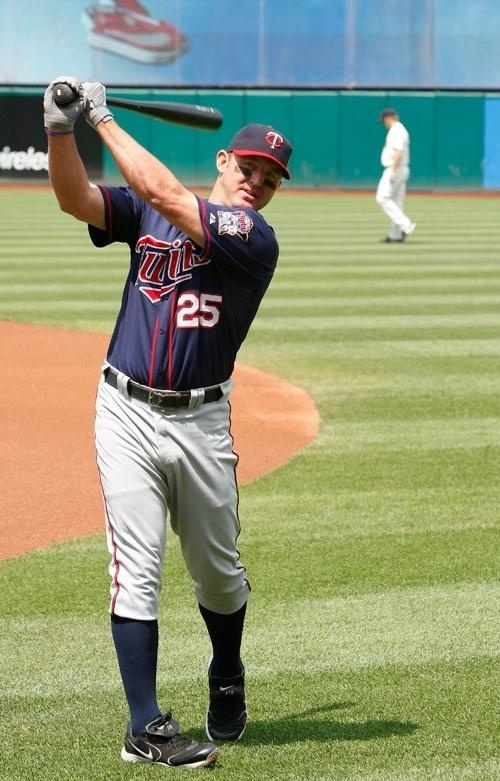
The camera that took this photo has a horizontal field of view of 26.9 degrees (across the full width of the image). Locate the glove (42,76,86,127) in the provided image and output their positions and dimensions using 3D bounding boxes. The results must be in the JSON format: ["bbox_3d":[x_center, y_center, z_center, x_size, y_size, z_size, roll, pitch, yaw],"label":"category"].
[{"bbox_3d":[-0.387,-0.607,2.208,0.087,0.113,0.113,6,39,0],"label":"glove"}]

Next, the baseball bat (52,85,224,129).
[{"bbox_3d":[-0.242,-0.631,2.353,0.412,0.075,0.062,-4,-6,-36],"label":"baseball bat"}]

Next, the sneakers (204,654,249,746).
[{"bbox_3d":[-0.050,0.689,2.364,0.094,0.093,0.252,0,27,-1],"label":"sneakers"}]

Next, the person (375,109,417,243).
[{"bbox_3d":[1.536,-2.229,10.872,0.437,1.419,1.817,5,11,7],"label":"person"}]

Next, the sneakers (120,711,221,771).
[{"bbox_3d":[-0.167,0.721,2.168,0.232,0.098,0.080,0,4,9],"label":"sneakers"}]

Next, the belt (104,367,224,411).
[{"bbox_3d":[-0.187,-0.005,2.222,0.262,0.075,0.115,2,10,-4],"label":"belt"}]

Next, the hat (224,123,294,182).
[{"bbox_3d":[0.016,-0.540,2.379,0.115,0.081,0.143,24,5,-26],"label":"hat"}]

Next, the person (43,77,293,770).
[{"bbox_3d":[-0.218,0.043,2.282,0.511,1.404,0.598,4,11,6],"label":"person"}]
